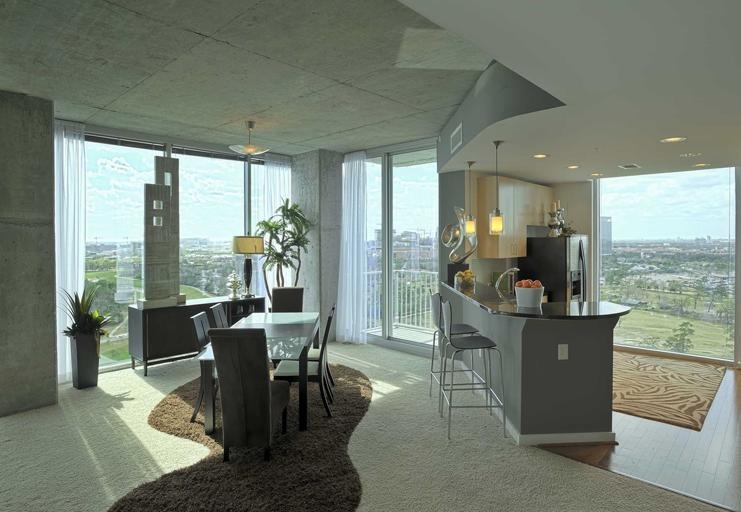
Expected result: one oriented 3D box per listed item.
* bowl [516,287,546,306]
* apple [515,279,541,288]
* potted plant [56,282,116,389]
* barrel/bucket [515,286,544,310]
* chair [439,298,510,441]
[{"bbox_3d":[1.726,0.430,5.251,0.252,0.137,0.219,-1,-3,3],"label":"bowl"},{"bbox_3d":[1.706,0.299,5.263,0.185,0.089,0.182,-5,-6,44],"label":"apple"},{"bbox_3d":[-3.813,1.037,6.580,0.552,1.249,0.844,-9,17,-31],"label":"potted plant"},{"bbox_3d":[1.723,0.444,5.259,0.269,0.151,0.233,-1,-3,4],"label":"barrel/bucket"},{"bbox_3d":[1.235,1.352,5.682,0.614,1.160,1.547,-1,-1,1],"label":"chair"}]
